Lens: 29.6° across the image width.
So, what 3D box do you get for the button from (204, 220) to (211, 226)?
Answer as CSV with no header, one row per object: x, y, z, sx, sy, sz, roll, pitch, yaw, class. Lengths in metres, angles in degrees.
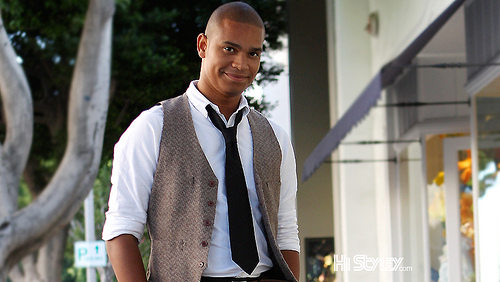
-0.601,1.087,12.678,0.072,0.071,0.020,7,-4,-6,button

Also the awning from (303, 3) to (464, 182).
1.849,-0.720,13.506,2.218,2.574,0.560,2,0,-21,awning

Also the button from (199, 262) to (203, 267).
-0.680,1.633,12.648,0.048,0.058,0.007,2,0,-3,button
